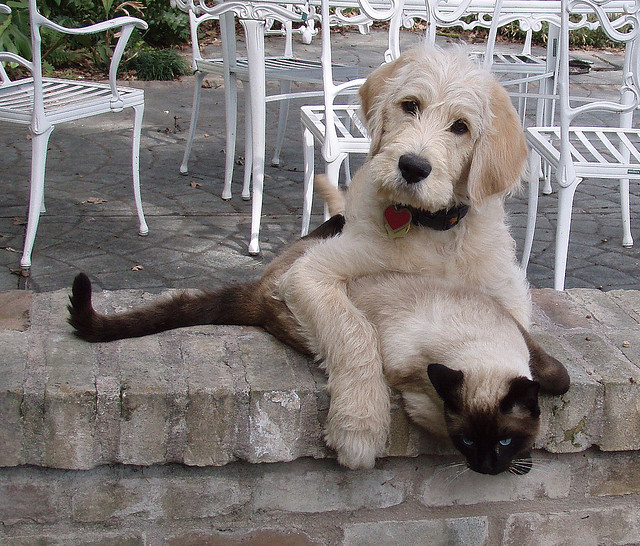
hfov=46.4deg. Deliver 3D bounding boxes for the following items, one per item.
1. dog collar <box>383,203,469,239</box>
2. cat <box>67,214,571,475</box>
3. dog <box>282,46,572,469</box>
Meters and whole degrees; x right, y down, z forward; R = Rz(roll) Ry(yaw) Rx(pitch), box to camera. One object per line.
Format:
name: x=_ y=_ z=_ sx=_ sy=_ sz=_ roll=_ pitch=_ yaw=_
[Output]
dog collar: x=0.358 y=-0.194 z=2.684 sx=0.229 sy=0.052 sz=0.144 roll=-4 pitch=16 yaw=-12
cat: x=0.178 y=0.184 z=2.599 sx=1.217 sy=0.403 sz=1.076 roll=30 pitch=39 yaw=35
dog: x=0.265 y=-0.022 z=2.679 sx=1.213 sy=1.440 sz=1.319 roll=4 pitch=24 yaw=4
